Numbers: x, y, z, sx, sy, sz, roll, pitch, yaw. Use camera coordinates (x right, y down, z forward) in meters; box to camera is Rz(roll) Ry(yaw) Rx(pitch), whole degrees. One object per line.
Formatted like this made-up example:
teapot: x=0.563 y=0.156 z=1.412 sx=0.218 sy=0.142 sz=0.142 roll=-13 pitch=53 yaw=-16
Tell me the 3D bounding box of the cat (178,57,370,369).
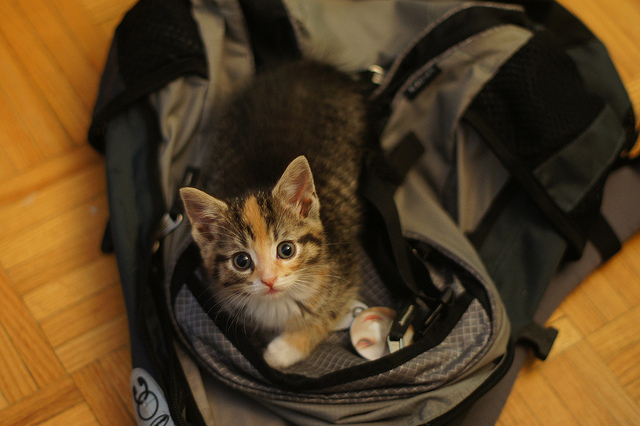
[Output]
cat: x=-0.184 y=-0.007 z=2.758 sx=0.685 sy=0.508 sz=1.249 roll=-10 pitch=45 yaw=2
